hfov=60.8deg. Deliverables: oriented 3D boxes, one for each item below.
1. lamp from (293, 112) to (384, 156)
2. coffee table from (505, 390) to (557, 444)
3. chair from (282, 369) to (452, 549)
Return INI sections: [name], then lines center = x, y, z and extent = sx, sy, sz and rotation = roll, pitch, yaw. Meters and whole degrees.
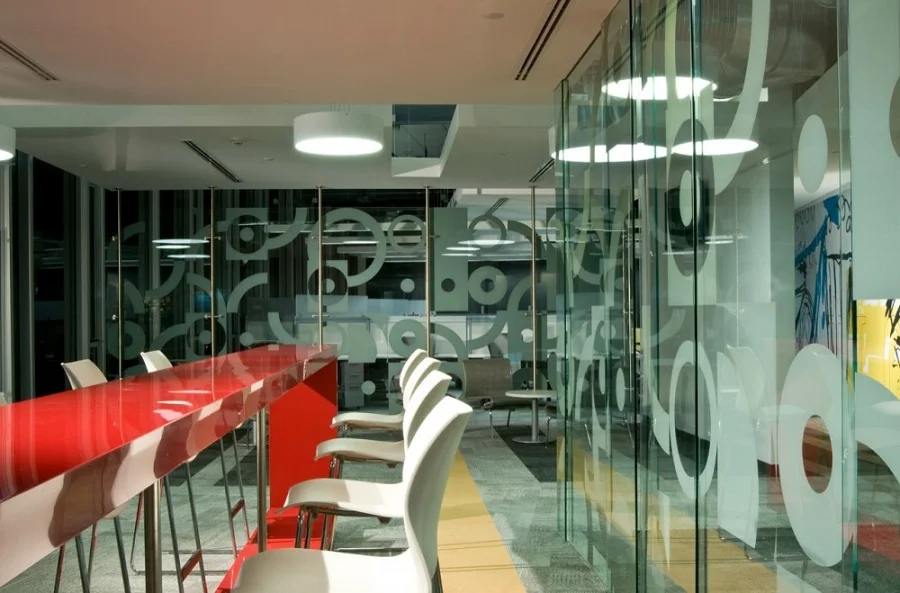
[lamp]
center = -0.880, -1.304, 6.234
extent = 0.467, 0.159, 0.484
rotation = -1, -2, 19
[coffee table]
center = 0.804, 1.194, 7.756
extent = 0.464, 0.362, 0.480
rotation = 1, 1, 25
[chair]
center = -0.389, 0.716, 3.766
extent = 0.778, 1.122, 0.661
rotation = 7, -3, -9
